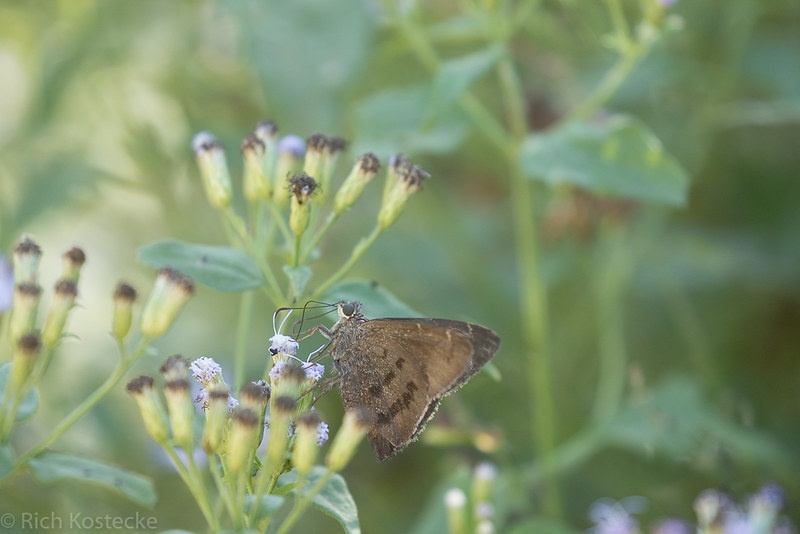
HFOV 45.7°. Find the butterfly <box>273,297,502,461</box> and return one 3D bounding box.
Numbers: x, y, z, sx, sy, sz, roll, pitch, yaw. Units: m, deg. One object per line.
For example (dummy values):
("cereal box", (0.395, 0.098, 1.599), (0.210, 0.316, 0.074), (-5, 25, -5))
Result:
("butterfly", (-0.044, 0.266, 2.866), (0.530, 0.324, 0.486), (26, 2, -3))
